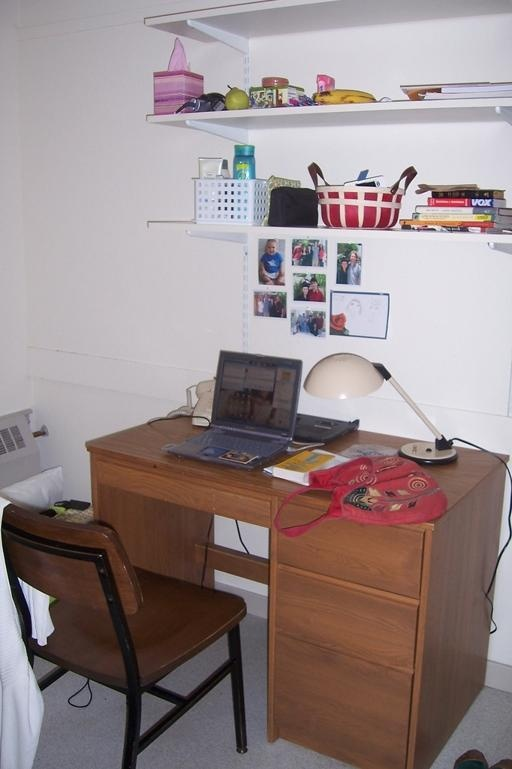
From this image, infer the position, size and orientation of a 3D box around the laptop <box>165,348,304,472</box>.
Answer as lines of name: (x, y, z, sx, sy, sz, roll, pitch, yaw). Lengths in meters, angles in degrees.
laptop: (-0.060, 0.066, 1.678, 0.349, 0.247, 0.331, 3, 17, 21)

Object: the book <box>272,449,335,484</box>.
book: (0.115, 0.191, 1.467, 0.070, 0.020, 0.101, 10, 19, 36)

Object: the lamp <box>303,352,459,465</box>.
lamp: (0.318, 0.054, 1.512, 0.358, 0.302, 0.163, -3, 20, 6)

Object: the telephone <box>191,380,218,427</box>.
telephone: (-0.158, 0.061, 1.892, 0.069, 0.142, 0.128, 6, 6, 29)

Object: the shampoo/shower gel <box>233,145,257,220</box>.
shampoo/shower gel: (-0.039, -0.581, 1.732, 0.079, 0.188, 0.080, -1, 19, 17)

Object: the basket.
basket: (0.262, -0.468, 1.539, 0.215, 0.141, 0.225, 3, 14, 1)

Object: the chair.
chair: (-0.307, 0.480, 1.367, 0.381, 0.596, 0.475, 3, 13, 28)
